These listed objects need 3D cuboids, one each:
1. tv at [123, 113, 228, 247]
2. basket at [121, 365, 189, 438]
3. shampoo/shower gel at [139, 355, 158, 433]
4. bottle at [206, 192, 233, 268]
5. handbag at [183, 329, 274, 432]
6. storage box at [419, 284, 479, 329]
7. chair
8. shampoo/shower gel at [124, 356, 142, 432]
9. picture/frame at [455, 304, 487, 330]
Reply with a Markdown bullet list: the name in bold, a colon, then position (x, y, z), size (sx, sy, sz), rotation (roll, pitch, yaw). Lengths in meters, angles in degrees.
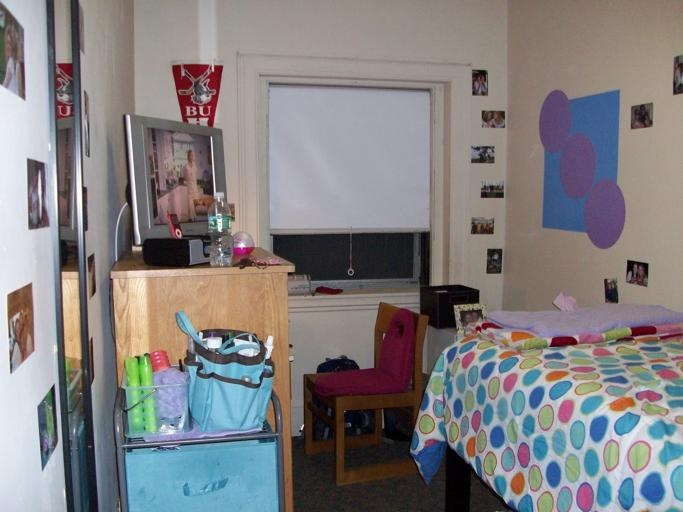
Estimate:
- **tv**: position (-0.741, -0.326, 2.324), size (0.058, 0.509, 0.605), rotation (-1, 3, 17)
- **basket**: position (-0.600, 0.487, 1.702), size (0.176, 0.202, 0.192), rotation (-2, 3, -15)
- **shampoo/shower gel**: position (-0.637, 0.454, 1.722), size (0.050, 0.238, 0.086), rotation (-7, 11, -21)
- **bottle**: position (-0.499, -0.123, 2.144), size (0.098, 0.267, 0.374), rotation (-6, 11, -13)
- **handbag**: position (-0.371, 0.379, 1.816), size (0.272, 0.333, 0.291), rotation (9, 12, 43)
- **storage box**: position (0.775, 0.333, 3.767), size (0.293, 0.257, 0.326), rotation (-1, 2, -15)
- **chair**: position (0.140, 0.800, 3.721), size (0.835, 1.476, 0.891), rotation (2, 2, -17)
- **shampoo/shower gel**: position (-0.681, 0.454, 1.716), size (0.060, 0.243, 0.089), rotation (-8, 11, -23)
- **picture/frame**: position (0.811, 0.378, 3.283), size (0.170, 0.205, 0.015), rotation (-2, 6, -10)
